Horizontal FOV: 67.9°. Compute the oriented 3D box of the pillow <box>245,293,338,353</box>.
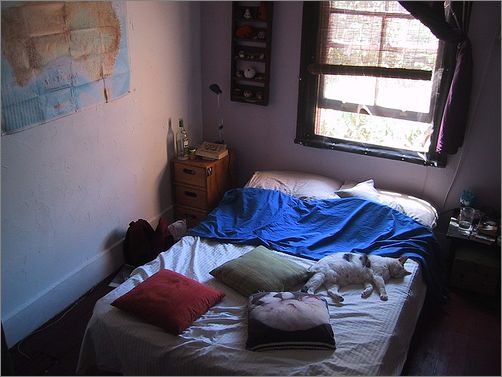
[{"bbox_3d":[0.237,0.780,2.209,0.518,0.192,0.333,3,20,-1],"label":"pillow"}]

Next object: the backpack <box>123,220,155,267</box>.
[{"bbox_3d":[-0.994,0.496,3.310,0.239,0.498,0.341,3,7,10],"label":"backpack"}]

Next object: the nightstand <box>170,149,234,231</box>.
[{"bbox_3d":[-0.514,0.009,3.741,0.547,1.100,0.578,7,19,20],"label":"nightstand"}]

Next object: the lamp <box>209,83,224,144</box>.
[{"bbox_3d":[-0.361,-0.809,3.991,0.150,0.622,0.270,1,19,-5],"label":"lamp"}]

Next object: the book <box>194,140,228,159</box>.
[{"bbox_3d":[-0.419,-0.396,3.876,0.202,0.081,0.217,11,27,21],"label":"book"}]

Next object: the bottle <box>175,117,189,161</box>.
[{"bbox_3d":[-0.713,-0.541,3.868,0.132,0.419,0.338,-1,20,-11],"label":"bottle"}]

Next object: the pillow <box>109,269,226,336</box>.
[{"bbox_3d":[-0.474,0.684,2.305,0.408,0.116,0.360,15,25,31],"label":"pillow"}]

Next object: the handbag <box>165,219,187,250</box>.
[{"bbox_3d":[-0.742,0.455,3.751,0.167,0.251,0.225,-17,20,-25],"label":"handbag"}]

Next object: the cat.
[{"bbox_3d":[0.723,0.620,2.532,0.470,0.132,0.253,-4,39,6],"label":"cat"}]

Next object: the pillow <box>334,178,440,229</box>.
[{"bbox_3d":[1.290,0.126,3.355,0.590,0.153,0.519,8,27,17],"label":"pillow"}]
